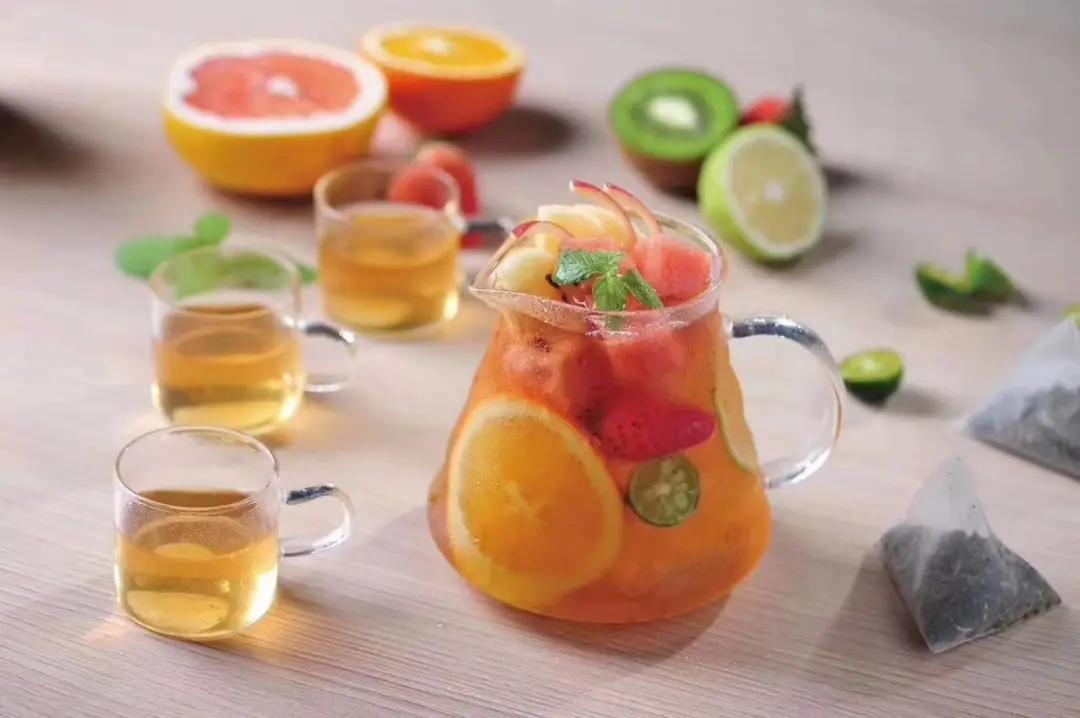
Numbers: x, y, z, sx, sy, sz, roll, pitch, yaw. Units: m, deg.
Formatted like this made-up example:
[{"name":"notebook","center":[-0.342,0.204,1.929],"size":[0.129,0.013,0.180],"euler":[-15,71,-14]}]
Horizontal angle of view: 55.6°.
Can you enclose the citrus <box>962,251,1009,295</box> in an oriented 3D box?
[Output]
[{"name":"citrus","center":[0.637,-0.119,1.431],"size":[0.067,0.032,0.065],"euler":[12,49,1]}]

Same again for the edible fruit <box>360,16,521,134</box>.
[{"name":"edible fruit","center":[-0.152,-0.457,1.643],"size":[0.226,0.131,0.213],"euler":[5,21,-8]}]

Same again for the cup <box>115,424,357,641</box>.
[{"name":"cup","center":[-0.289,0.163,0.989],"size":[0.229,0.142,0.138],"euler":[0,27,-25]}]

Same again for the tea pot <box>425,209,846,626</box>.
[{"name":"tea pot","center":[0.096,0.056,1.007],"size":[0.388,0.318,0.312],"euler":[-3,19,2]}]

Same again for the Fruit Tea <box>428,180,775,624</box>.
[{"name":"Fruit Tea","center":[0.067,0.045,1.005],"size":[0.360,0.331,0.314],"euler":[-6,27,-15]}]

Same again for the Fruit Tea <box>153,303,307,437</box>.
[{"name":"Fruit Tea","center":[-0.348,0.006,1.165],"size":[0.122,0.120,0.178],"euler":[-10,15,-44]}]

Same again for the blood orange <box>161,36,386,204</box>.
[{"name":"blood orange","center":[-0.395,-0.366,1.499],"size":[0.288,0.147,0.277],"euler":[19,29,14]}]

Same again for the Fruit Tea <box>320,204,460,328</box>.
[{"name":"Fruit Tea","center":[-0.232,-0.125,1.377],"size":[0.216,0.148,0.207],"euler":[3,12,-8]}]

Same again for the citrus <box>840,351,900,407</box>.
[{"name":"citrus","center":[0.426,0.024,1.288],"size":[0.095,0.062,0.093],"euler":[5,-3,-42]}]
